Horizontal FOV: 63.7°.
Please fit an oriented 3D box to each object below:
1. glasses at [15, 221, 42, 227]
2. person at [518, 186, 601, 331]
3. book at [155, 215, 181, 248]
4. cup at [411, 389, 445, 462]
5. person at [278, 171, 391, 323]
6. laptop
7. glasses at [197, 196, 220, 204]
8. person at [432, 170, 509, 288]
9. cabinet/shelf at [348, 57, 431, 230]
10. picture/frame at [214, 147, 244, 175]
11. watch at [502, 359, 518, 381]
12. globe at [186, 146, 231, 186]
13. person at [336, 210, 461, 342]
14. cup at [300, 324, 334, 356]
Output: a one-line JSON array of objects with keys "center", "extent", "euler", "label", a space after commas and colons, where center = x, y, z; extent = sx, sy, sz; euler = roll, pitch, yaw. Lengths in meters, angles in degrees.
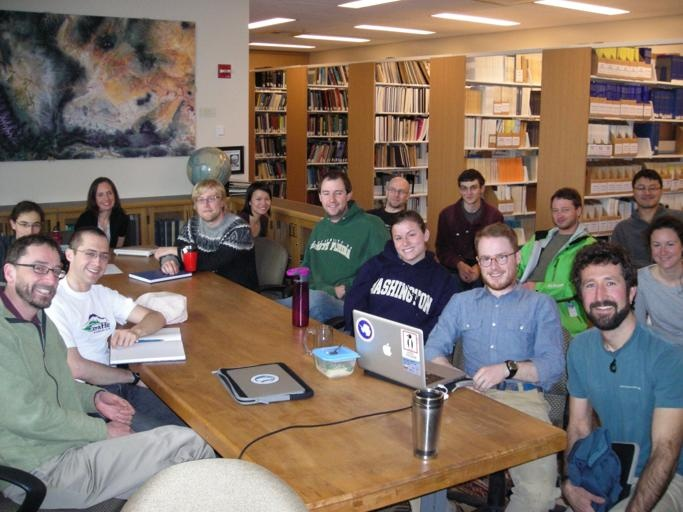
[{"center": [-2.225, -0.226, 3.927], "extent": [0.125, 0.042, 0.059], "euler": [-7, 11, -30], "label": "glasses"}, {"center": [1.571, 0.037, 4.081], "extent": [0.532, 1.029, 0.612], "euler": [-9, 14, -22], "label": "person"}, {"center": [-1.958, -0.276, 6.202], "extent": [0.261, 0.363, 0.366], "euler": [2, 5, 18], "label": "book"}, {"center": [0.278, 0.534, 1.752], "extent": [0.100, 0.207, 0.080], "euler": [0, 9, 8], "label": "cup"}, {"center": [-0.122, -0.062, 4.031], "extent": [0.804, 1.077, 0.689], "euler": [-6, 9, -44], "label": "person"}, {"center": [0.283, 0.368, 2.256], "extent": [0.300, 0.290, 0.386], "euler": [-12, 13, -38], "label": "laptop"}, {"center": [-0.944, -0.400, 3.921], "extent": [0.135, 0.053, 0.049], "euler": [-5, 10, -20], "label": "glasses"}, {"center": [1.250, -0.211, 5.243], "extent": [0.789, 1.150, 0.767], "euler": [-17, 20, -38], "label": "person"}, {"center": [0.657, -1.985, 8.446], "extent": [1.098, 0.623, 2.674], "euler": [7, 55, 19], "label": "cabinet/shelf"}, {"center": [-1.352, -1.161, 6.608], "extent": [0.029, 0.422, 0.409], "euler": [9, 13, 44], "label": "picture/frame"}, {"center": [0.745, 0.493, 2.418], "extent": [0.048, 0.078, 0.075], "euler": [18, 29, 17], "label": "watch"}, {"center": [-1.532, -1.026, 6.445], "extent": [0.494, 0.555, 0.502], "euler": [7, 14, 6], "label": "globe"}, {"center": [0.377, 0.189, 3.180], "extent": [0.600, 0.847, 0.425], "euler": [7, 15, 23], "label": "person"}, {"center": [-0.118, 0.386, 2.540], "extent": [0.159, 0.167, 0.095], "euler": [-1, 6, -9], "label": "cup"}]
